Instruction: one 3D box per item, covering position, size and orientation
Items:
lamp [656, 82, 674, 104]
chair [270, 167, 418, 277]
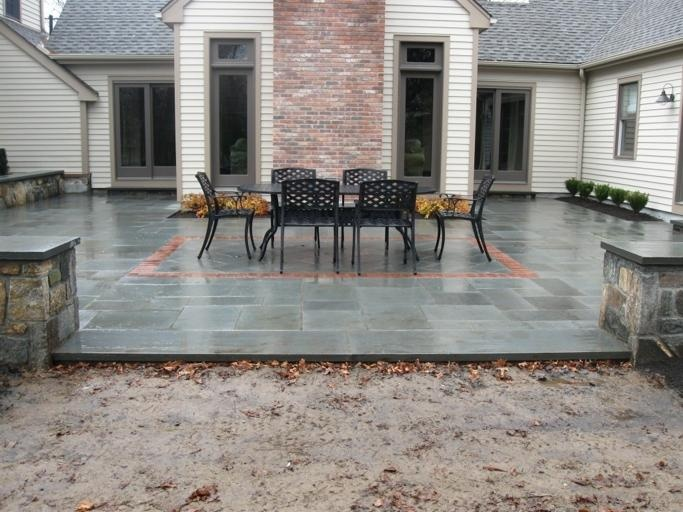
[{"bbox_3d":[6.559,-3.325,10.873,0.260,0.401,0.434,2,14,6],"label":"lamp"},{"bbox_3d":[0.002,-0.396,6.885,2.023,1.052,0.680,0,18,-1],"label":"chair"}]
